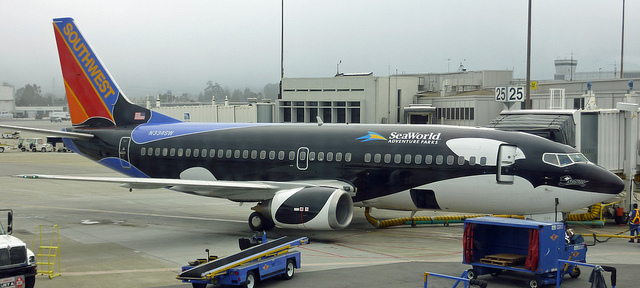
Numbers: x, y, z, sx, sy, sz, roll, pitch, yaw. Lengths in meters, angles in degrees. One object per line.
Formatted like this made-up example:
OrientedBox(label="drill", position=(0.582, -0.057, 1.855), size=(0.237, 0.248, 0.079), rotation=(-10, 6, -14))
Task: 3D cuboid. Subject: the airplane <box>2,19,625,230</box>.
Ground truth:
OrientedBox(label="airplane", position=(-0.259, -2.341, 64.436), size=(53.740, 20.924, 10.235), rotation=(-1, 5, 4))
